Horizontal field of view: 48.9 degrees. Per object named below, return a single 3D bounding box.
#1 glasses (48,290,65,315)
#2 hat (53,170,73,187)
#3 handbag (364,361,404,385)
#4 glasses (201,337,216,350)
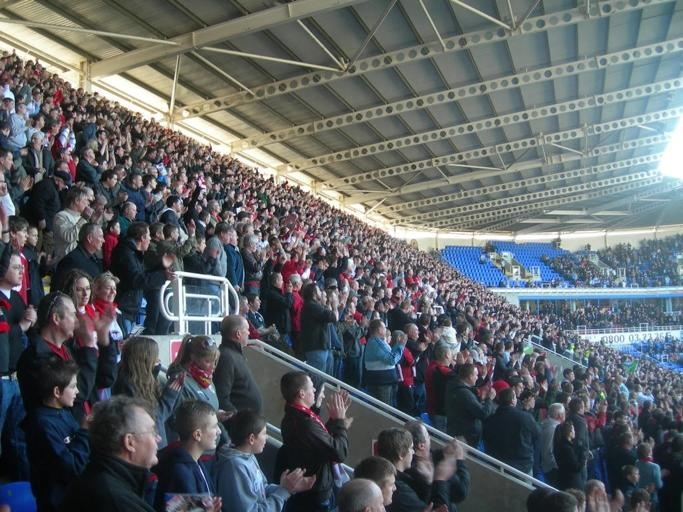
[{"bbox_3d":[-2.905,0.479,7.644,0.133,0.220,0.111,9,-4,-28],"label":"glasses"},{"bbox_3d":[-3.990,-1.101,10.704,0.216,0.237,0.371,8,-3,-13],"label":"hat"},{"bbox_3d":[0.699,1.841,11.594,0.705,0.226,0.379,10,-4,-44],"label":"handbag"},{"bbox_3d":[-1.447,0.928,8.174,0.105,0.144,0.142,-8,14,-31],"label":"glasses"}]
